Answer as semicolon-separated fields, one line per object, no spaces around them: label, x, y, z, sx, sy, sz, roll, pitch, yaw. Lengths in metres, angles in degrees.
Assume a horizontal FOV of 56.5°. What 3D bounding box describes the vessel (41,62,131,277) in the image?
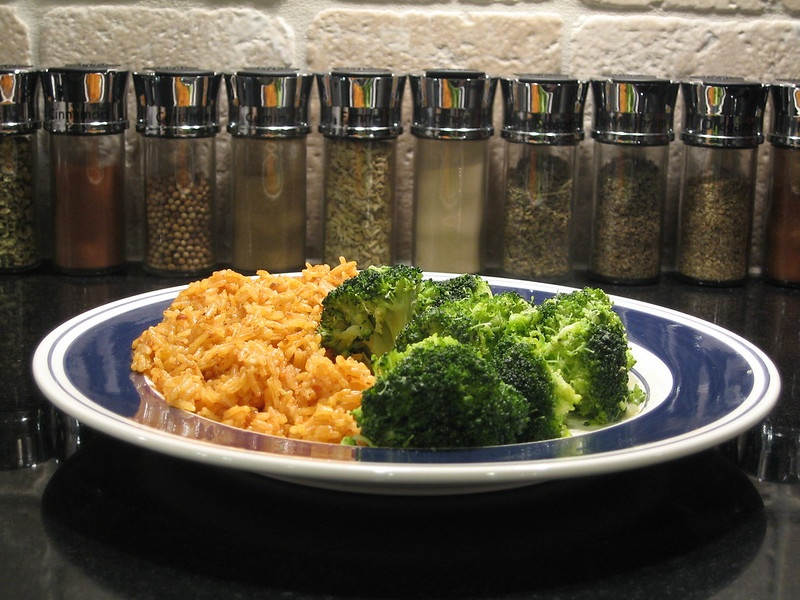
vessel;-0.666;-0.278;1.600;0.175;0.436;0.196;-5;10;-21

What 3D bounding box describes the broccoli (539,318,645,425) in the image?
broccoli;0.252;0.087;1.014;0.119;0.067;0.134;-26;59;-13

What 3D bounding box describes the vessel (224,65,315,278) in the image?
vessel;-0.279;-0.275;1.604;0.182;0.421;0.221;-3;9;-12

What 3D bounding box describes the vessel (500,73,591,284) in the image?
vessel;0.310;-0.261;1.612;0.174;0.430;0.204;0;9;8

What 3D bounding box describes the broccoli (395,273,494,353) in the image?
broccoli;0.061;0.007;1.014;0.092;0.082;0.117;-17;15;-33

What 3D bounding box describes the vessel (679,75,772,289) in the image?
vessel;0.685;-0.253;1.597;0.161;0.435;0.214;2;10;20

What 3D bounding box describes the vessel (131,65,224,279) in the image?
vessel;-0.469;-0.268;1.602;0.181;0.433;0.201;-4;9;-16

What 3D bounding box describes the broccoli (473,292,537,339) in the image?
broccoli;0.142;0.019;1.000;0.063;0.045;0.063;0;-2;-9

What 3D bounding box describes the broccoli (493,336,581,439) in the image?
broccoli;0.163;0.101;0.868;0.093;0.048;0.116;13;-10;6

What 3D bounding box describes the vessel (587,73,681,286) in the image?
vessel;0.495;-0.252;1.588;0.169;0.441;0.158;1;9;15

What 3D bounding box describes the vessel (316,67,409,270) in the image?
vessel;-0.078;-0.280;1.595;0.181;0.411;0.182;-2;9;-6

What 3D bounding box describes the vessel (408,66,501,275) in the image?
vessel;0.115;-0.270;1.594;0.181;0.424;0.154;-1;9;2

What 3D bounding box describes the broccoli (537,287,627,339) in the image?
broccoli;0.249;0.014;1.026;0.091;0.056;0.071;-27;-11;35
